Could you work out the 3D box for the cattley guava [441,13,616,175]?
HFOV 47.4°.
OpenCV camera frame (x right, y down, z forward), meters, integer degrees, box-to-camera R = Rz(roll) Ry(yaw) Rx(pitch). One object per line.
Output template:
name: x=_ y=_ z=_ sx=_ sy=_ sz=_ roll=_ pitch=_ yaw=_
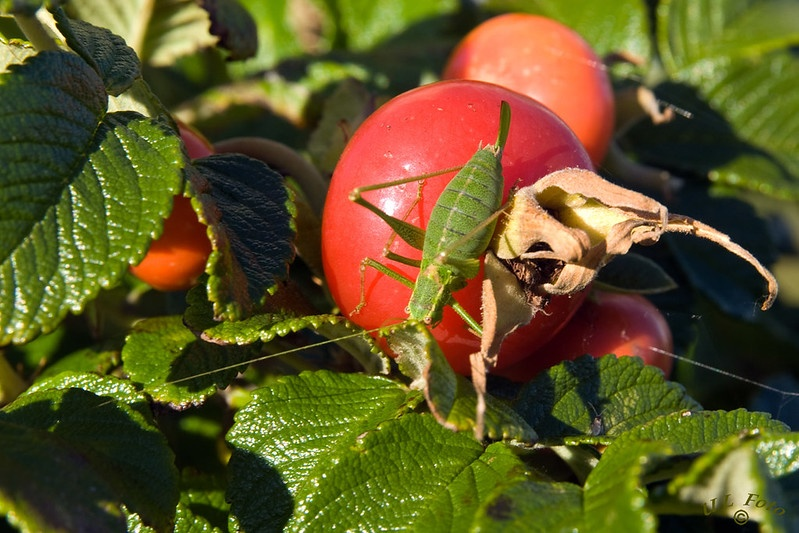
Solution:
cattley guava: x=0.329 y=-0.356 z=2.306 sx=0.344 sy=0.394 sz=0.413 roll=12 pitch=50 yaw=2
